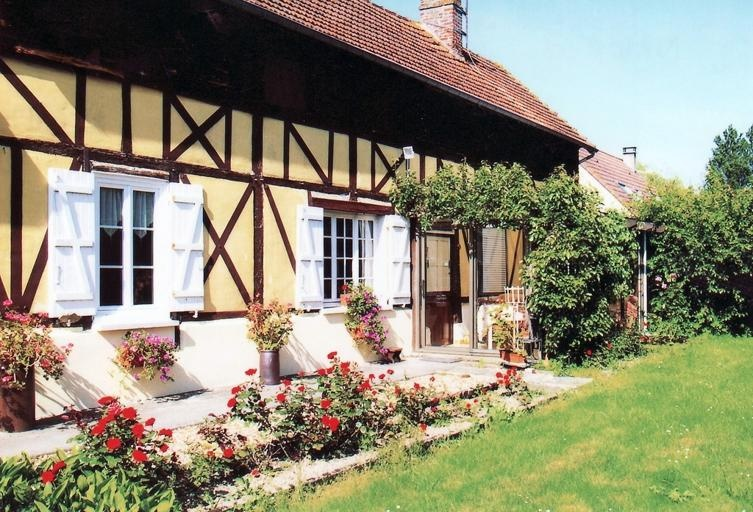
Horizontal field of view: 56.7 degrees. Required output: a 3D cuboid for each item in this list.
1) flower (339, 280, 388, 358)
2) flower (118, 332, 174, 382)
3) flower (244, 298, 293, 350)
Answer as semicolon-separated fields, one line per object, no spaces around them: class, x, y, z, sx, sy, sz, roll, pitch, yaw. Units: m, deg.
flower;-0.231;1.247;12.915;0.465;1.395;0.958;-7;-9;33
flower;-3.357;1.497;10.241;0.893;0.767;0.403;3;-9;-31
flower;-1.734;1.101;11.652;0.639;1.033;0.804;2;-1;10
